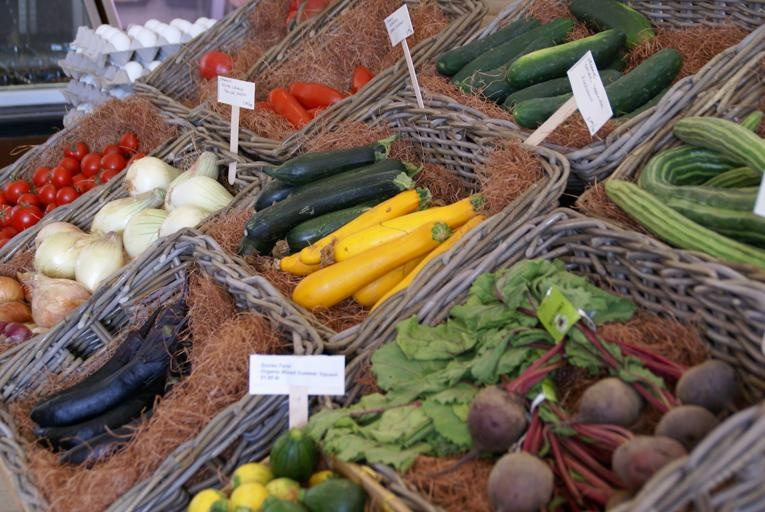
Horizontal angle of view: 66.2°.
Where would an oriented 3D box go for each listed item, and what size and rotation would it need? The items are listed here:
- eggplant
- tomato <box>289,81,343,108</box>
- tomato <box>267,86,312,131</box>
[{"bbox_3d":[-1.161,0.571,2.535,0.228,0.259,0.710,17,47,36],"label":"eggplant"},{"bbox_3d":[-0.425,-1.030,3.736,0.332,0.140,0.160,12,29,11],"label":"tomato"},{"bbox_3d":[-0.516,-0.901,3.674,0.282,0.287,0.232,16,32,41],"label":"tomato"}]
